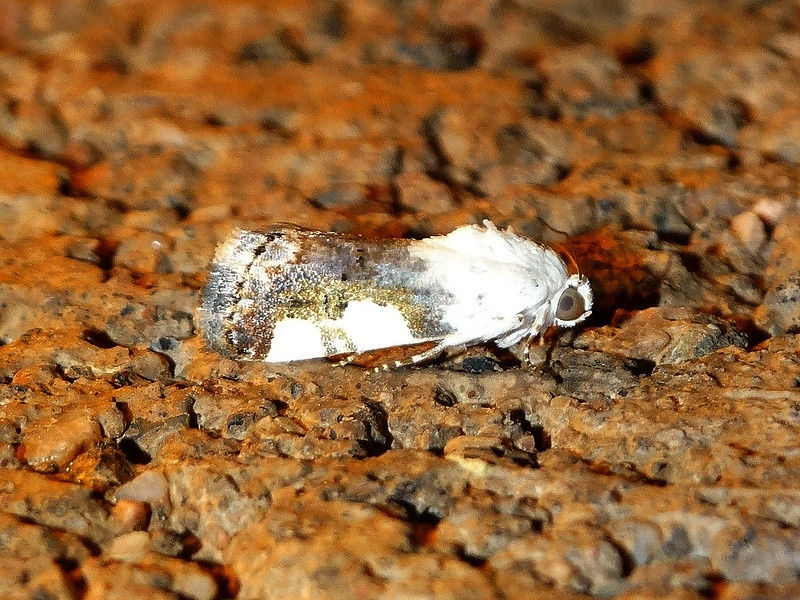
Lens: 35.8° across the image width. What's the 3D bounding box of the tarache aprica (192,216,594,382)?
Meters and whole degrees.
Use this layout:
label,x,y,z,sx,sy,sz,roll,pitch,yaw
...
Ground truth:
label,x,y,z,sx,sy,sz,roll,pitch,yaw
tarache aprica,-0.085,-0.021,5.783,1.864,0.651,0.537,3,-70,1
